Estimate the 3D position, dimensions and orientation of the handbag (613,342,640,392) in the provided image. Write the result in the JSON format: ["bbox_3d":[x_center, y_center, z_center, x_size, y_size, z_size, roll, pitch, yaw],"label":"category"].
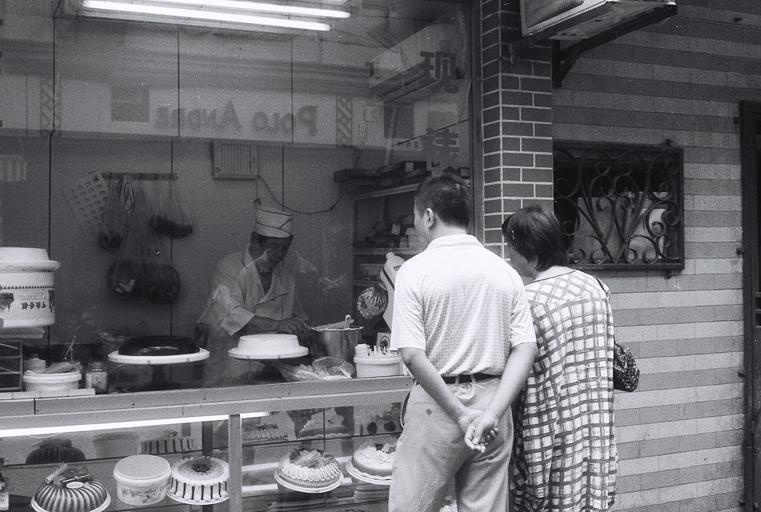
[{"bbox_3d":[1.497,0.688,5.593,0.211,0.278,0.110,-9,-1,-23],"label":"handbag"}]

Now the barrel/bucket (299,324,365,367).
[{"bbox_3d":[-0.327,0.622,6.379,0.266,0.239,0.280,0,-8,0],"label":"barrel/bucket"}]

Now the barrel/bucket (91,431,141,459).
[{"bbox_3d":[-1.669,1.185,5.667,0.259,0.215,0.149,2,0,-17],"label":"barrel/bucket"}]

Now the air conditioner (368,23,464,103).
[{"bbox_3d":[0.253,-1.351,6.636,0.905,0.428,0.276,1,-2,40],"label":"air conditioner"}]

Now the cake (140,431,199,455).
[{"bbox_3d":[-1.338,1.200,5.745,0.212,0.080,0.211,0,-2,22],"label":"cake"}]

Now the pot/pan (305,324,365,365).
[{"bbox_3d":[-0.354,0.650,6.535,0.367,0.287,0.379,1,-1,-21],"label":"pot/pan"}]

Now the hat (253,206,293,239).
[{"bbox_3d":[-0.788,-0.239,6.590,0.258,0.171,0.206,4,1,-28],"label":"hat"}]

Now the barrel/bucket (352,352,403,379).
[{"bbox_3d":[-0.012,0.765,6.254,0.223,0.138,0.193,0,-2,-13],"label":"barrel/bucket"}]

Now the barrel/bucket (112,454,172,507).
[{"bbox_3d":[-1.522,1.415,5.740,0.339,0.196,0.333,0,-3,0],"label":"barrel/bucket"}]

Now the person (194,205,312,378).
[{"bbox_3d":[-0.924,0.142,6.464,0.771,1.153,0.295,-1,0,-12],"label":"person"}]
